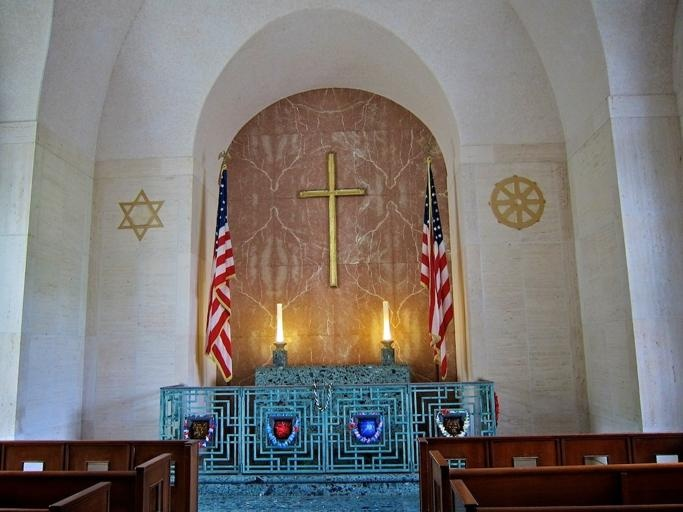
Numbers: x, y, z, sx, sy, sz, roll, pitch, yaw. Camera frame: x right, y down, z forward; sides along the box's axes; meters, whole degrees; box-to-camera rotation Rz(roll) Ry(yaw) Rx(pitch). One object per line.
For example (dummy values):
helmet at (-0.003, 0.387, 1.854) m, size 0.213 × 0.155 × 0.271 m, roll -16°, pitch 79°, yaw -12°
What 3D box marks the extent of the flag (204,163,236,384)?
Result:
flag at (-1.762, 0.165, 9.496) m, size 0.386 × 3.178 × 0.309 m, roll 1°, pitch -10°, yaw -14°
